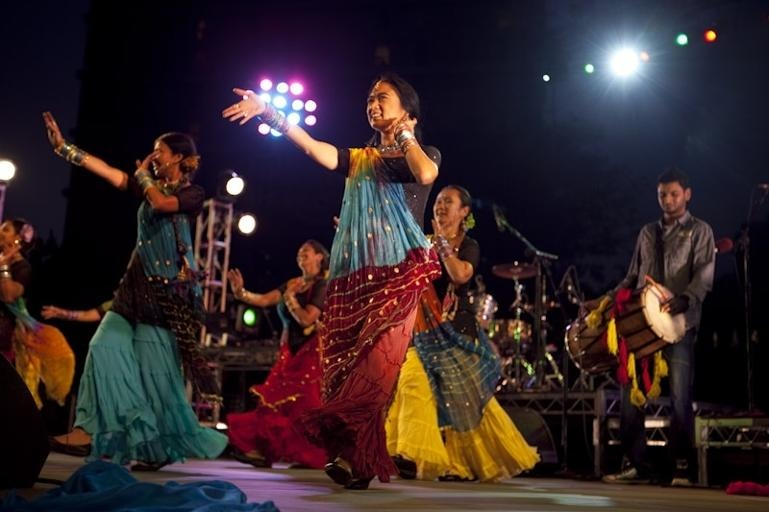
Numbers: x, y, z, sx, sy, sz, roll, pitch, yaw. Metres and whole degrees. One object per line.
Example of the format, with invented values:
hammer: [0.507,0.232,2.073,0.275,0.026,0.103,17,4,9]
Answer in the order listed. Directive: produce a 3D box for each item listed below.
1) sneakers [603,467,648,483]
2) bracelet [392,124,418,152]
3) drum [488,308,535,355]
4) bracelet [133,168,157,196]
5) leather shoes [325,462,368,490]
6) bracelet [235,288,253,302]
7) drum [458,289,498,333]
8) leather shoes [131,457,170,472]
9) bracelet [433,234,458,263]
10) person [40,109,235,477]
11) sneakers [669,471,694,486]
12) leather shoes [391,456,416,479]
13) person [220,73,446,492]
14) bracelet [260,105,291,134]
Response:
sneakers: [2.300,2.133,7.053,0.306,0.109,0.183,2,-15,1]
bracelet: [0.155,-0.872,5.401,0.183,0.171,0.149,-1,4,16]
drum: [2.128,1.396,12.601,0.696,0.545,0.732,9,-20,3]
bracelet: [-2.033,-0.638,6.241,0.198,0.090,0.162,46,4,36]
leather shoes: [-0.270,1.580,5.278,0.335,0.202,0.206,5,-13,-16]
bracelet: [-1.592,0.427,8.154,0.217,0.142,0.212,7,9,-43]
drum: [1.390,0.915,11.665,0.667,0.749,0.839,-3,-1,-8]
leather shoes: [-2.109,1.827,6.433,0.295,0.099,0.504,12,-17,-39]
bracelet: [0.527,-0.051,6.408,0.152,0.241,0.069,-27,-3,-18]
person: [-2.017,0.319,6.423,1.377,2.992,0.748,7,-14,-25]
sneakers: [2.735,2.057,6.798,0.130,0.062,0.134,2,-9,-5]
leather shoes: [0.173,1.720,5.932,0.126,0.145,0.347,9,-2,-17]
person: [-0.204,0.117,5.423,1.216,3.087,0.472,3,-13,-11]
bracelet: [-0.812,-1.002,5.386,0.213,0.273,0.179,4,-13,-12]
